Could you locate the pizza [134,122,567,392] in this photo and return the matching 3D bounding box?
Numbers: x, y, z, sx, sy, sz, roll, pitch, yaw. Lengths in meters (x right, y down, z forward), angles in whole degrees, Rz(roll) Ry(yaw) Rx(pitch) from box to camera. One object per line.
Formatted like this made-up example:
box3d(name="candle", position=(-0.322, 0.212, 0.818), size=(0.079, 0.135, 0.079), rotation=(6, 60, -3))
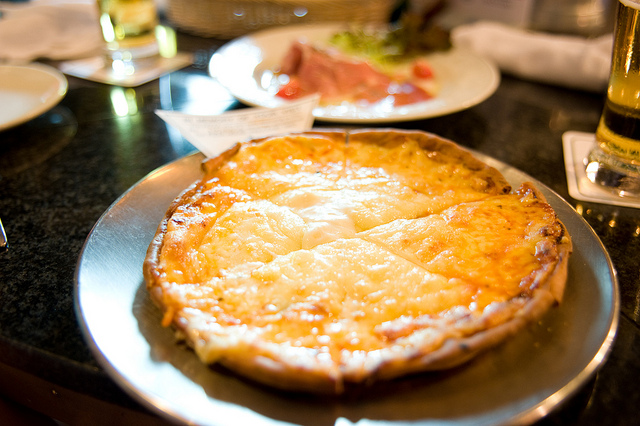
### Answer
box3d(name="pizza", position=(0.059, 0.042, 0.820), size=(0.625, 0.071, 0.569), rotation=(21, 50, 20))
